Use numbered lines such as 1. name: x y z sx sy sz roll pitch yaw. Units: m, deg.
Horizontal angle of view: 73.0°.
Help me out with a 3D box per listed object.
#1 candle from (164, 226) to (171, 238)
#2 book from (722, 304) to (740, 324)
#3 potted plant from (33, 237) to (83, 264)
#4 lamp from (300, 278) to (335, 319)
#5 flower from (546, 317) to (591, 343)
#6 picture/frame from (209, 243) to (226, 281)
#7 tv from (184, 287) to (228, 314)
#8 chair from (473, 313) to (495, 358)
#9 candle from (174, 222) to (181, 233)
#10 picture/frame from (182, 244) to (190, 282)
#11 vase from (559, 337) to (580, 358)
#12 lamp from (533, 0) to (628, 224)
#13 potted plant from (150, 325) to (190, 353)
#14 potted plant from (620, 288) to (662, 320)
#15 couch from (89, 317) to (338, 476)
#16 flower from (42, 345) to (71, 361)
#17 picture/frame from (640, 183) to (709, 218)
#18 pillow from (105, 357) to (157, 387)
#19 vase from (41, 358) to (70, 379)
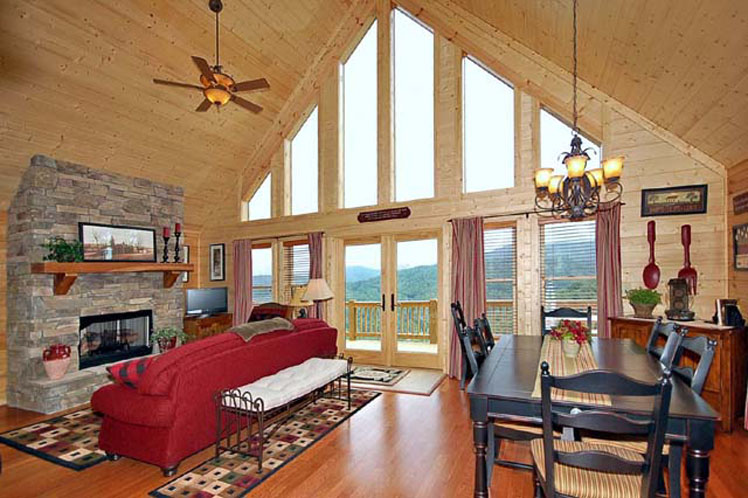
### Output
1. candle: -3.581 -0.316 8.690 0.102 0.204 0.419 -1 -4 -26
2. book: 4.409 0.771 6.175 0.270 0.219 0.084 -1 -3 -21
3. potted plant: -4.586 -0.003 7.382 0.387 0.323 0.495 5 -9 -16
4. lamp: -0.916 0.748 8.023 0.619 0.858 0.572 1 -11 -14
5. flower: 2.191 0.873 5.569 0.331 0.178 0.334 2 -3 -21
6. picture/frame: -3.164 0.220 10.190 0.430 0.741 0.075 -5 -3 30
7. tv: -3.123 0.927 9.429 0.161 0.469 0.922 -5 -4 28
8. chair: 1.366 1.073 6.381 0.204 0.548 0.445 -9 -1 36
9. candle: -3.401 -0.399 8.737 0.082 0.185 0.106 -2 -3 -25
10. picture/frame: -3.712 0.234 9.953 0.128 0.722 0.548 -2 -3 -17
11. vase: 2.165 1.057 5.604 0.212 0.219 0.206 1 -11 4
12. lamp: 2.663 -1.669 6.861 1.265 2.713 2.726 -4 -4 26
13. potted plant: -3.480 1.467 8.695 0.628 0.398 0.611 3 -6 -16
14. potted plant: 3.723 0.729 6.996 0.421 0.350 0.410 -1 -12 14
15. couch: -1.876 1.651 6.966 1.421 1.383 3.369 1 4 27
16. flower: -4.505 1.419 7.138 0.242 0.150 0.235 1 -8 -11
17. picture/frame: 4.251 -0.699 7.053 0.544 0.348 0.031 0 5 26
18. pillow: -2.683 1.355 5.749 0.433 0.122 0.421 3 7 14
19. vase: -4.467 1.636 7.114 0.284 0.228 0.288 1 -13 -5
